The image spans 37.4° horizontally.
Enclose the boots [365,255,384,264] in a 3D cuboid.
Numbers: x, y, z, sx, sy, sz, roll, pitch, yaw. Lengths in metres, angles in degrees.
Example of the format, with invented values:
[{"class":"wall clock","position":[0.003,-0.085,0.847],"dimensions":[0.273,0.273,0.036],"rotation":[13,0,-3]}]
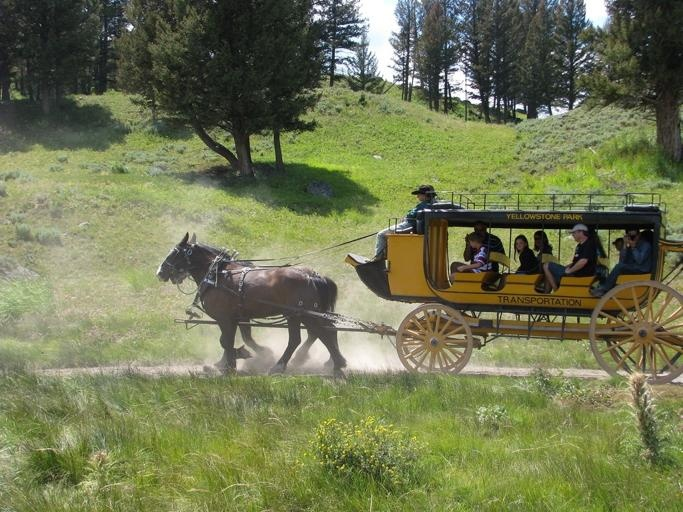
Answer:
[{"class":"boots","position":[1.410,0.220,44.292],"dimensions":[0.849,0.411,0.306],"rotation":[0,4,13]}]

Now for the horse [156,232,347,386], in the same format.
[{"class":"horse","position":[-4.148,2.462,45.906],"dimensions":[8.358,6.319,2.479],"rotation":[4,10,3]}]

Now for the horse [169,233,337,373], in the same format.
[{"class":"horse","position":[-4.125,2.342,45.902],"dimensions":[8.311,6.530,2.541],"rotation":[3,9,4]}]
